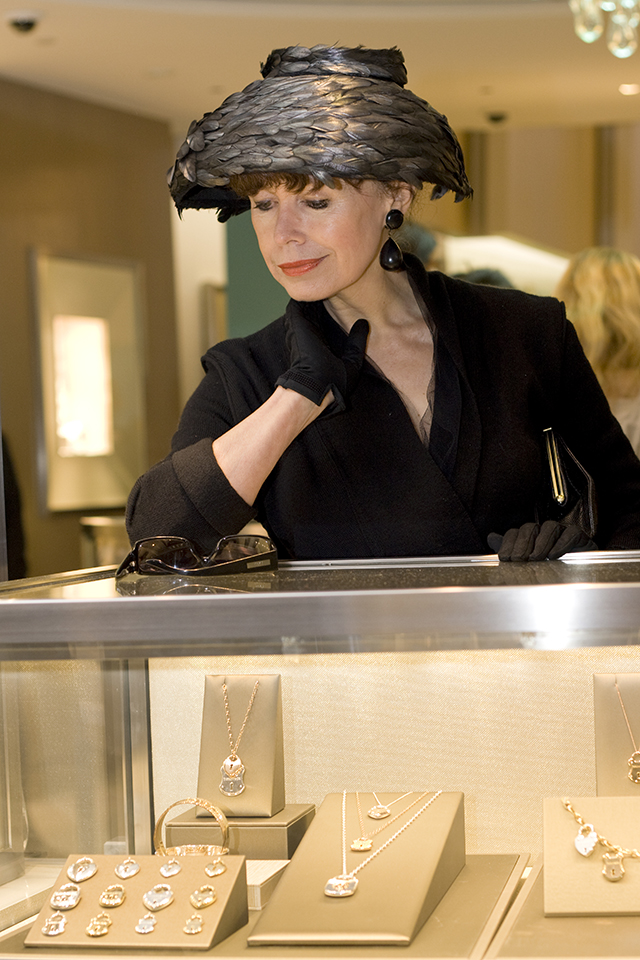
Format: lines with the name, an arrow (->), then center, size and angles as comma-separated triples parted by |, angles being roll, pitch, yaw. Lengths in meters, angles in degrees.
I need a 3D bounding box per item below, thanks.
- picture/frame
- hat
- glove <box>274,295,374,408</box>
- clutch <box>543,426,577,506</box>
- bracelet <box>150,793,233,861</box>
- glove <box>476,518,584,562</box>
picture/frame -> -0.600, -0.251, 2.361 | 0.029, 0.695, 0.769 | -5, 12, -36
hat -> 0.003, -0.371, 1.006 | 0.257, 0.120, 0.240 | -3, 4, 10
glove -> 0.002, -0.156, 1.164 | 0.046, 0.138, 0.135 | -2, -13, 41
clutch -> 0.310, -0.017, 1.197 | 0.027, 0.103, 0.028 | -18, -43, 18
bracelet -> -0.096, 0.256, 0.689 | 0.060, 0.045, 0.050 | -2, -2, 9
glove -> 0.233, 0.066, 0.975 | 0.065, 0.019, 0.061 | -17, 3, -24
